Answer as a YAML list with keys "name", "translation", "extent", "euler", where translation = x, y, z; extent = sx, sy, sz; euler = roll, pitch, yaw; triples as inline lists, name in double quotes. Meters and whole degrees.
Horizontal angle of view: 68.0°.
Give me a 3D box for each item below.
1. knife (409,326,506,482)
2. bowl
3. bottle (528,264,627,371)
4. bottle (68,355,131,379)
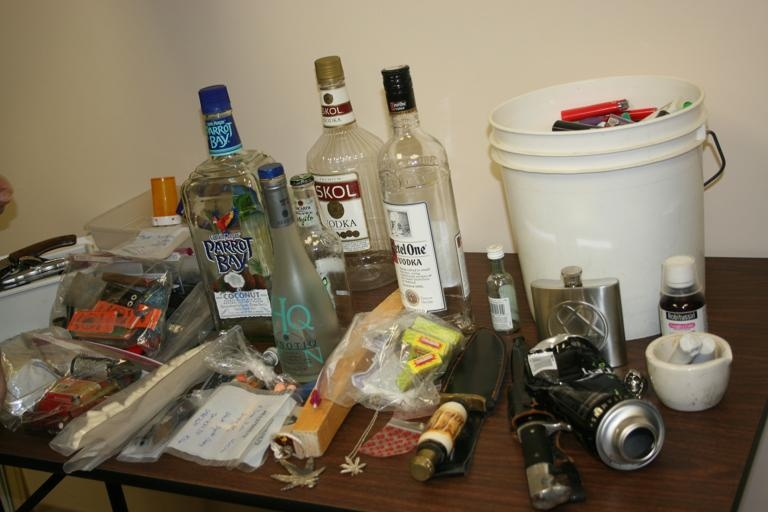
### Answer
- name: "knife"
  translation: [0.125, 0.203, 0.842]
  extent: [0.075, 0.050, 0.257]
  euler: [-3, 29, 33]
- name: "bowl"
  translation: [0.423, 0.156, 0.825]
  extent: [0.116, 0.093, 0.113]
  euler: [-8, 13, 2]
- name: "bottle"
  translation: [0.300, 0.094, 0.862]
  extent: [0.148, 0.187, 0.069]
  euler: [-2, 21, 26]
- name: "bottle"
  translation: [-0.484, 0.187, 0.965]
  extent: [0.070, 0.037, 0.039]
  euler: [5, 19, 5]
